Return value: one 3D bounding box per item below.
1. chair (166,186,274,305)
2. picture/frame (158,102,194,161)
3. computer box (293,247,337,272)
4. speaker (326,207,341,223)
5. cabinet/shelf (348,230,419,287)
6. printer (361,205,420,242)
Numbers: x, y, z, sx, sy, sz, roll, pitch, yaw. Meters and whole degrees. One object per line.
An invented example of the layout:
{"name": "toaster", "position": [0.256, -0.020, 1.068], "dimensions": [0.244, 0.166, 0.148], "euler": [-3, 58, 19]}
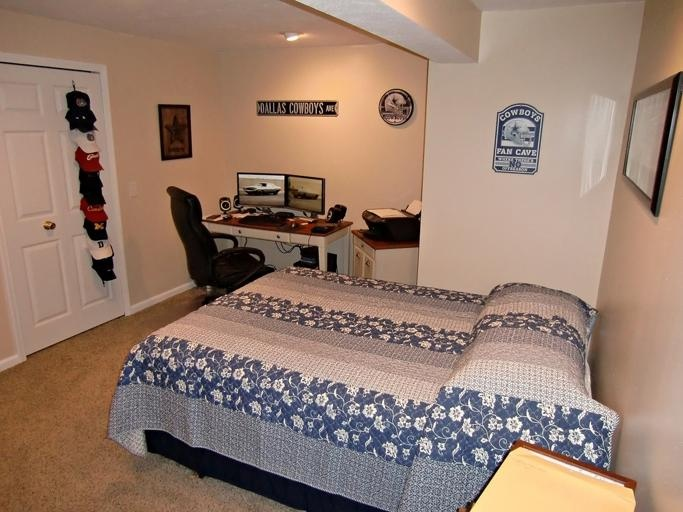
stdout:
{"name": "chair", "position": [-1.196, -0.091, 4.710], "dimensions": [0.847, 1.310, 0.732], "euler": [-17, 27, -34]}
{"name": "picture/frame", "position": [-1.733, -1.285, 5.069], "dimensions": [0.023, 0.629, 0.531], "euler": [10, 19, 22]}
{"name": "computer box", "position": [-0.280, -0.035, 5.130], "dimensions": [0.375, 0.386, 0.277], "euler": [4, 5, 26]}
{"name": "speaker", "position": [-0.102, -0.416, 5.143], "dimensions": [0.148, 0.159, 0.164], "euler": [0, 4, -19]}
{"name": "cabinet/shelf", "position": [0.374, -0.109, 4.662], "dimensions": [0.469, 0.660, 0.690], "euler": [-3, 14, -16]}
{"name": "printer", "position": [0.479, -0.274, 4.567], "dimensions": [0.336, 0.191, 0.378], "euler": [-2, 9, -11]}
